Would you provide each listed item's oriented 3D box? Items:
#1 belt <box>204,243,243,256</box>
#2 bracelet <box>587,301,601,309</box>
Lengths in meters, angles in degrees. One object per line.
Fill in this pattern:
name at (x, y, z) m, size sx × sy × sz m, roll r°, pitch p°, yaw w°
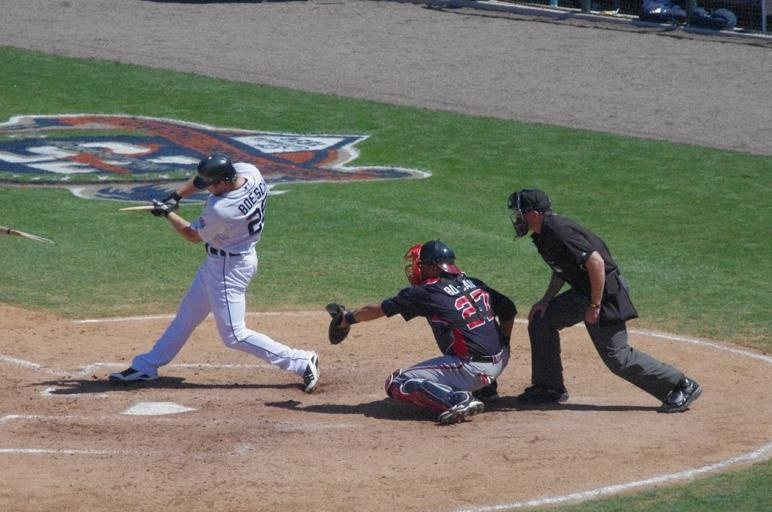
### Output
belt at (-2.793, -0.097, 24.298) m, size 0.466 × 0.100 × 0.324 m, roll 7°, pitch -1°, yaw -36°
bracelet at (3.622, 0.870, 24.003) m, size 0.175 × 0.053 × 0.161 m, roll 6°, pitch -12°, yaw -30°
